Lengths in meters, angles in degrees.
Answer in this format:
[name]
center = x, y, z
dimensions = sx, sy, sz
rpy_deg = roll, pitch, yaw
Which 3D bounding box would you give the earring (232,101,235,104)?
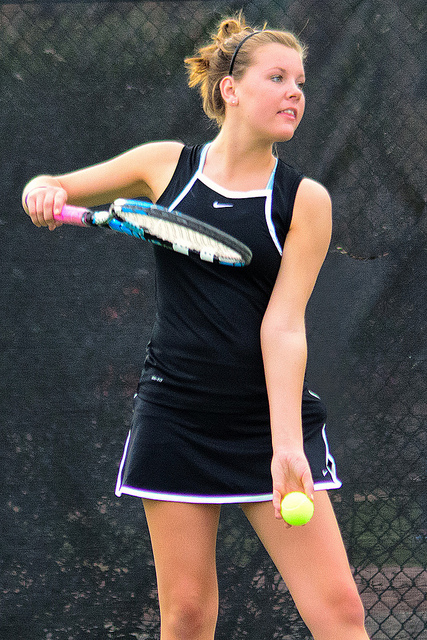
[earring]
center = 0.041, -0.463, 1.563
dimensions = 0.008, 0.002, 0.006
rpy_deg = -2, 87, 6

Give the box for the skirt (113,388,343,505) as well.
[skirt]
center = 0.029, 0.271, 1.619
dimensions = 0.550, 0.257, 0.295
rpy_deg = 1, 89, -1

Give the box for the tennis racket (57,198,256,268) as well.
[tennis racket]
center = -0.145, -0.204, 1.722
dimensions = 0.607, 0.168, 0.038
rpy_deg = 15, 75, 44

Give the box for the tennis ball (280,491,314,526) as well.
[tennis ball]
center = 0.152, 0.349, 1.358
dimensions = 0.064, 0.058, 0.056
rpy_deg = -10, 41, 15
